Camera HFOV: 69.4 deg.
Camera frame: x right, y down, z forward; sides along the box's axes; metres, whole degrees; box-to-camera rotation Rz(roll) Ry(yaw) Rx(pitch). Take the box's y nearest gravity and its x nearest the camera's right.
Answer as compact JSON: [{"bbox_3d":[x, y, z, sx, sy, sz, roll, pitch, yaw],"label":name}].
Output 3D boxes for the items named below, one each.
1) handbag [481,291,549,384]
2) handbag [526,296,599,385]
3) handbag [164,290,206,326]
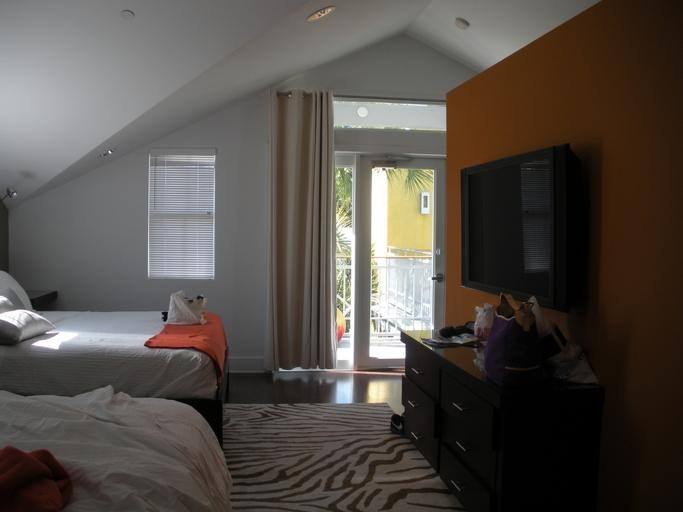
[{"bbox_3d":[0.909,0.438,2.625,0.259,0.465,0.332,1,4,-7],"label":"handbag"},{"bbox_3d":[1.134,0.442,2.628,0.579,0.400,0.189,4,22,-29],"label":"handbag"},{"bbox_3d":[-1.264,0.436,4.064,0.360,0.235,0.367,10,-8,-44],"label":"handbag"}]
